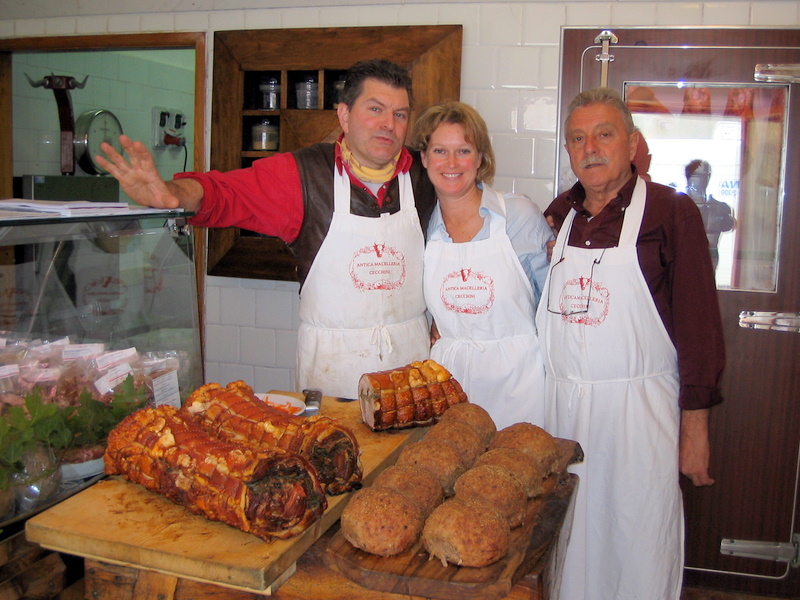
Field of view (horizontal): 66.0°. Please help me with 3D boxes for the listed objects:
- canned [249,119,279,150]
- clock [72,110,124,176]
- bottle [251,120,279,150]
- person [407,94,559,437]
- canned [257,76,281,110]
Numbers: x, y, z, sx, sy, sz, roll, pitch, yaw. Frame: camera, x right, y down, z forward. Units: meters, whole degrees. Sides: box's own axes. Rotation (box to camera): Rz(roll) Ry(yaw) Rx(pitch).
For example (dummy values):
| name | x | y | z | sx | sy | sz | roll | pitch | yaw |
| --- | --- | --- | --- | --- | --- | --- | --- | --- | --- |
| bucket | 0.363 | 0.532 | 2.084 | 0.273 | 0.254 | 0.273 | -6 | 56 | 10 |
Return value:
| name | x | y | z | sx | sy | sz | roll | pitch | yaw |
| --- | --- | --- | --- | --- | --- | --- | --- | --- | --- |
| canned | -0.743 | -0.870 | 3.319 | 0.154 | 0.175 | 0.158 | 1 | 2 | -14 |
| clock | -2.166 | -1.123 | 4.376 | 0.143 | 0.440 | 0.426 | 7 | 16 | 4 |
| bottle | -0.734 | -0.860 | 3.341 | 0.146 | 0.161 | 0.152 | 0 | -3 | 8 |
| person | 0.355 | 0.103 | 2.586 | 0.566 | 1.803 | 0.349 | 3 | 26 | 21 |
| canned | -0.704 | -1.091 | 3.369 | 0.160 | 0.179 | 0.165 | 1 | 2 | -5 |
